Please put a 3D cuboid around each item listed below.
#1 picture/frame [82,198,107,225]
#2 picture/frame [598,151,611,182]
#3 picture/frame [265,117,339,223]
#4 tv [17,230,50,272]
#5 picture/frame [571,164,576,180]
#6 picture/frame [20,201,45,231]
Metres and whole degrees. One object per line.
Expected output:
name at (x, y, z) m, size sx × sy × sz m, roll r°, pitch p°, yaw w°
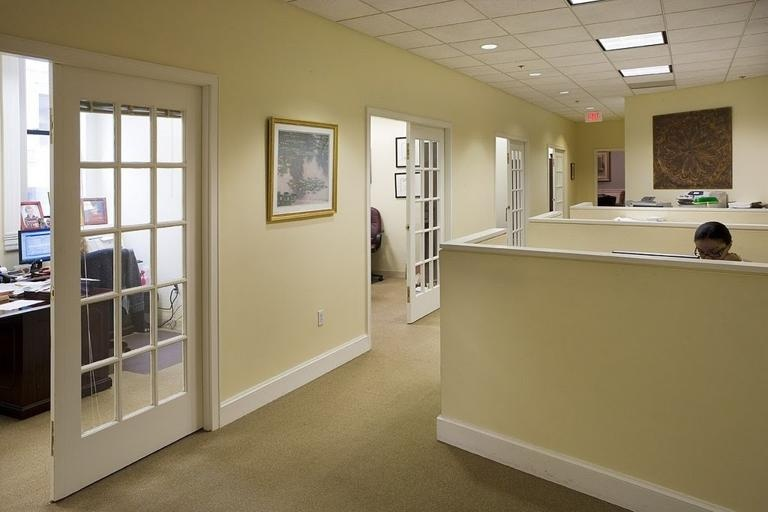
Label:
picture/frame at (-2.070, -0.314, 3.498) m, size 0.102 × 0.216 × 0.177 m, roll 4°, pitch 4°, yaw 44°
picture/frame at (7.168, -2.855, 16.019) m, size 0.446 × 0.953 × 0.219 m, roll 3°, pitch 13°, yaw 9°
picture/frame at (-0.794, -0.834, 4.793) m, size 0.145 × 0.969 × 0.984 m, roll 10°, pitch 17°, yaw 35°
tv at (-3.931, -0.102, 5.593) m, size 0.508 × 0.392 × 0.059 m, roll -5°, pitch 1°, yaw 14°
picture/frame at (4.917, -2.177, 12.841) m, size 0.063 × 0.505 × 0.408 m, roll 2°, pitch 5°, yaw 35°
picture/frame at (-4.129, -0.452, 5.751) m, size 0.023 × 0.385 × 0.317 m, roll -7°, pitch 2°, yaw 27°
